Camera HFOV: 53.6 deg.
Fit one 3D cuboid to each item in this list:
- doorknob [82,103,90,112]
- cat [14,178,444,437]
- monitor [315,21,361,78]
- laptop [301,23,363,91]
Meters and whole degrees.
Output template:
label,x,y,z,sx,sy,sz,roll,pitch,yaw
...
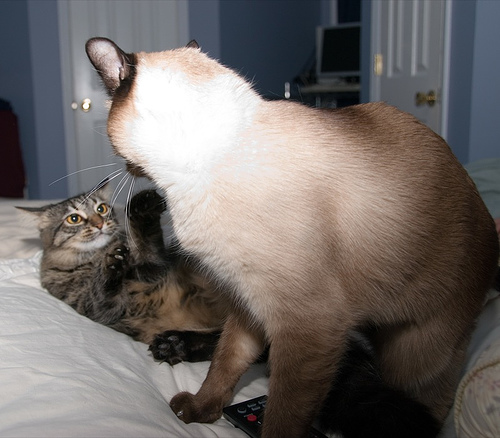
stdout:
label,x,y,z,sx,sy,sz,roll,pitch,yaw
doorknob,-1.308,-0.859,3.849,0.066,0.060,0.046,-4,24,4
cat,-0.031,0.152,0.777,0.571,0.237,0.151,26,26,15
monitor,0.794,-1.443,4.241,0.440,0.400,0.040,15,22,42
laptop,0.708,-1.354,4.182,0.490,0.530,0.599,-14,21,-25
